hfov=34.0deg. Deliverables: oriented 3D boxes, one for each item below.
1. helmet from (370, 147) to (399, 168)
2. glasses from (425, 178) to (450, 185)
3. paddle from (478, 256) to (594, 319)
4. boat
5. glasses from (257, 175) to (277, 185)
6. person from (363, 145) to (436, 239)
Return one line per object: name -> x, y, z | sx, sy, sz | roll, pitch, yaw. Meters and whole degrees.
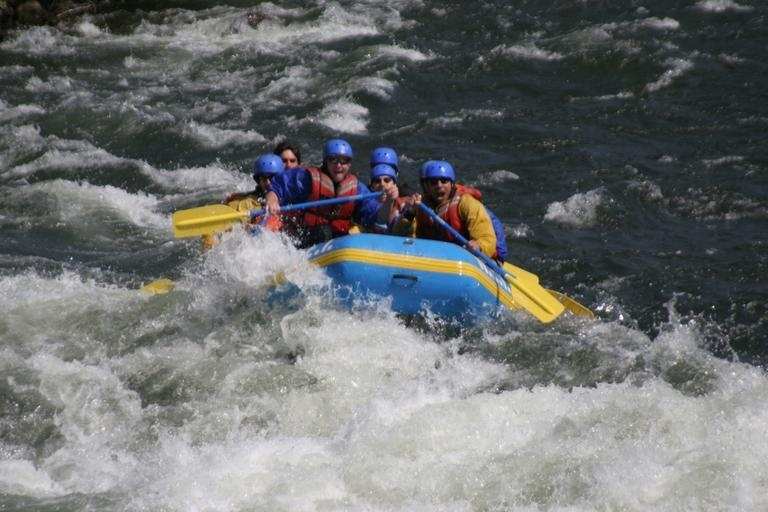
helmet -> 0.004, -1.748, 22.220 | 0.404, 0.419, 0.499 | 3, 6, 4
glasses -> 0.920, -1.288, 21.748 | 0.400, 0.122, 0.132 | 0, 28, 13
paddle -> 2.613, 0.774, 21.455 | 0.777, 0.256, 2.059 | -24, 28, -15
boat -> -0.440, 0.143, 21.800 | 7.807, 2.258, 2.258 | 2, 28, 18
glasses -> -2.100, -1.344, 22.274 | 0.186, 0.227, 0.112 | -13, 70, -12
person -> 0.163, -1.222, 22.534 | 1.271, 1.505, 0.772 | 3, 19, 9
